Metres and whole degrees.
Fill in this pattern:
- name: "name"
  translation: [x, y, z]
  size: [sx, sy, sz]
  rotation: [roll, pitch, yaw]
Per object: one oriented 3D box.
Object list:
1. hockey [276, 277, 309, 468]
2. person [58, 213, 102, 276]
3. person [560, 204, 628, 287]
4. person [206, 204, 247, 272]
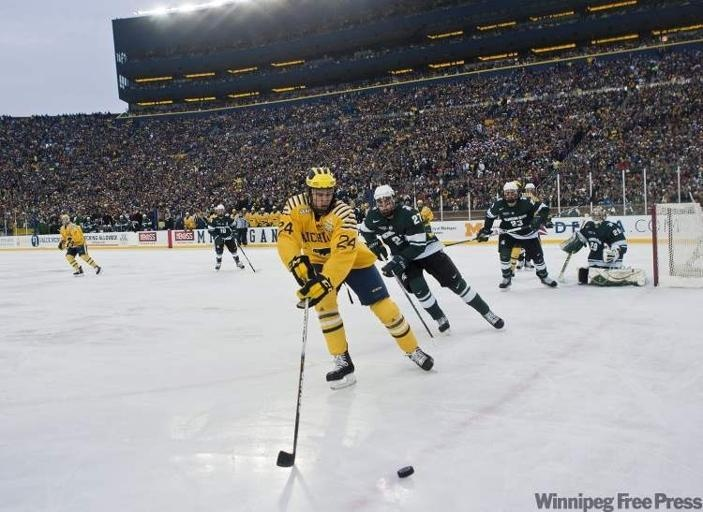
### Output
- name: "hockey"
  translation: [-0.728, 1.625, 10.245]
  size: [0.229, 2.166, 0.280]
  rotation: [12, -21, -20]
- name: "person"
  translation: [-7.186, -0.297, 21.002]
  size: [0.950, 1.706, 0.849]
  rotation: [-10, 0, -31]
- name: "person"
  translation: [4.953, -0.288, 15.870]
  size: [0.987, 1.774, 1.050]
  rotation: [-11, 10, -39]
- name: "person"
  translation: [-3.379, -0.602, 21.497]
  size: [0.856, 1.954, 0.834]
  rotation: [-4, 8, -30]
